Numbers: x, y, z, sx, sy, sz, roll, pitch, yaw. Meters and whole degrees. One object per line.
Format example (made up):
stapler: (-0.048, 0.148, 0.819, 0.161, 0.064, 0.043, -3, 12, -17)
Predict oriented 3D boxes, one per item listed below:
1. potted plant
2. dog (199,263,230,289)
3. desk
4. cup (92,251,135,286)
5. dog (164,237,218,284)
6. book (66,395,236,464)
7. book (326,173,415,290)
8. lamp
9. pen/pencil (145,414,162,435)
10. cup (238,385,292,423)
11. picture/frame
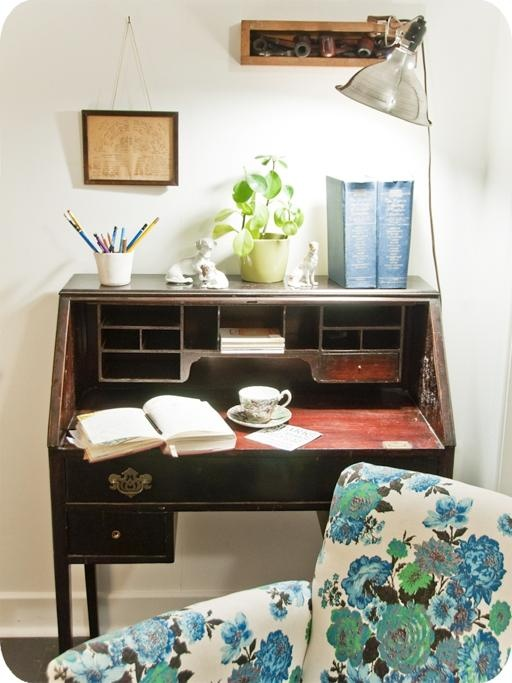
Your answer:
potted plant: (0.013, -0.364, 1.797, 0.295, 0.374, 0.243, -4, 15, -4)
dog: (-0.129, -0.189, 1.719, 0.062, 0.047, 0.093, 5, 14, 2)
desk: (-0.059, 0.413, 1.890, 1.152, 1.162, 0.501, -1, 25, -21)
cup: (-0.401, -0.205, 1.694, 0.098, 0.078, 0.102, 0, 5, 0)
dog: (-0.186, -0.234, 1.781, 0.160, 0.124, 0.099, -6, 3, 29)
book: (-0.276, 0.237, 1.570, 0.410, 0.104, 0.266, -6, 15, -14)
book: (0.292, -0.341, 1.792, 0.327, 0.413, 0.312, 0, 18, 2)
lamp: (0.276, -0.569, 1.276, 0.158, 0.210, 0.125, -10, 16, -25)
pen/pencil: (-0.262, 0.214, 1.539, 0.008, 0.046, 0.007, -33, -7, 4)
cup: (0.019, 0.162, 1.694, 0.135, 0.081, 0.100, -1, 8, -9)
picture/frame: (-0.389, -0.599, 1.819, 0.244, 0.186, 0.016, -1, 21, -2)
